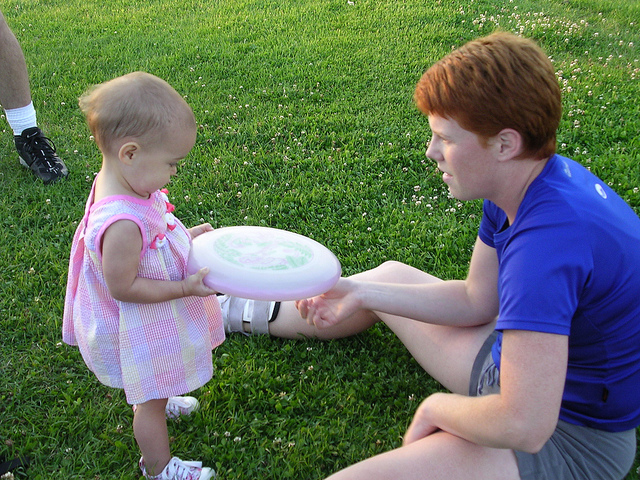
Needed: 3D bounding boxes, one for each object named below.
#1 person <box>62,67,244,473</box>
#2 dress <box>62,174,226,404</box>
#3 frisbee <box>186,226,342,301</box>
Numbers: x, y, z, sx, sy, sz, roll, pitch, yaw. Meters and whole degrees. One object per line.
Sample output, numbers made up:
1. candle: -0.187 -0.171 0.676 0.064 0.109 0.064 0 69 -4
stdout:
1. person: -0.837 0.183 2.704 0.784 1.742 0.759 13 32 18
2. dress: -0.786 0.296 2.961 0.861 1.089 1.155 -4 34 -11
3. frisbee: -0.271 0.122 2.780 0.480 0.137 0.503 16 21 -10
